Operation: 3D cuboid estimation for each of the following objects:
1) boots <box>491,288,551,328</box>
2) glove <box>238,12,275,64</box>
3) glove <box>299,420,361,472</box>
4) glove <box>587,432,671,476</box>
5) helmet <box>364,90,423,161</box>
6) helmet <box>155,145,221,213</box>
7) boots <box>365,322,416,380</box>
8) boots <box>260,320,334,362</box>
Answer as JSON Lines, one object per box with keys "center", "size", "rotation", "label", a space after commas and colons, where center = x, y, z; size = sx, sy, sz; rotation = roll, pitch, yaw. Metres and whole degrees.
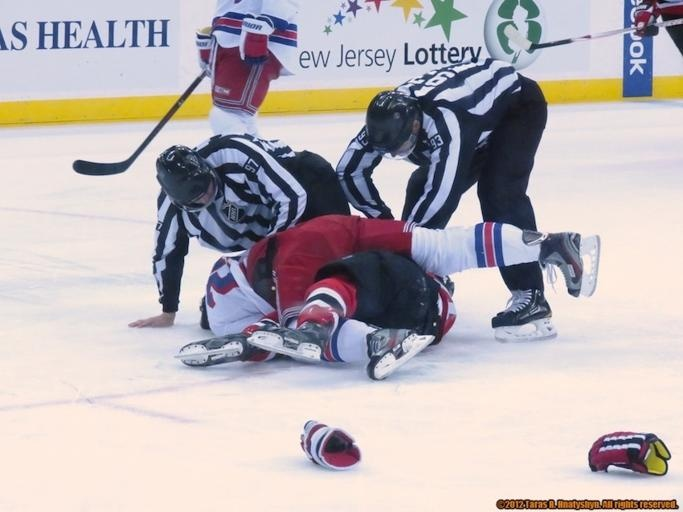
{"center": [0.757, 0.226, 4.061], "size": [0.336, 0.168, 0.108], "rotation": [-4, 0, -30], "label": "boots"}
{"center": [-0.471, -1.193, 5.209], "size": [0.181, 0.237, 0.102], "rotation": [0, 10, -6], "label": "glove"}
{"center": [-0.040, 0.580, 2.944], "size": [0.119, 0.089, 0.216], "rotation": [-19, 42, -36], "label": "glove"}
{"center": [0.864, 0.602, 2.884], "size": [0.132, 0.101, 0.232], "rotation": [4, -13, -42], "label": "glove"}
{"center": [0.264, -0.572, 4.097], "size": [0.233, 0.264, 0.255], "rotation": [-1, -27, 34], "label": "helmet"}
{"center": [-0.654, -0.324, 4.009], "size": [0.249, 0.285, 0.201], "rotation": [-3, 10, -17], "label": "helmet"}
{"center": [0.177, 0.320, 3.528], "size": [0.108, 0.171, 0.312], "rotation": [17, 28, 25], "label": "boots"}
{"center": [-0.185, 0.287, 3.476], "size": [0.309, 0.108, 0.223], "rotation": [5, 18, 4], "label": "boots"}
